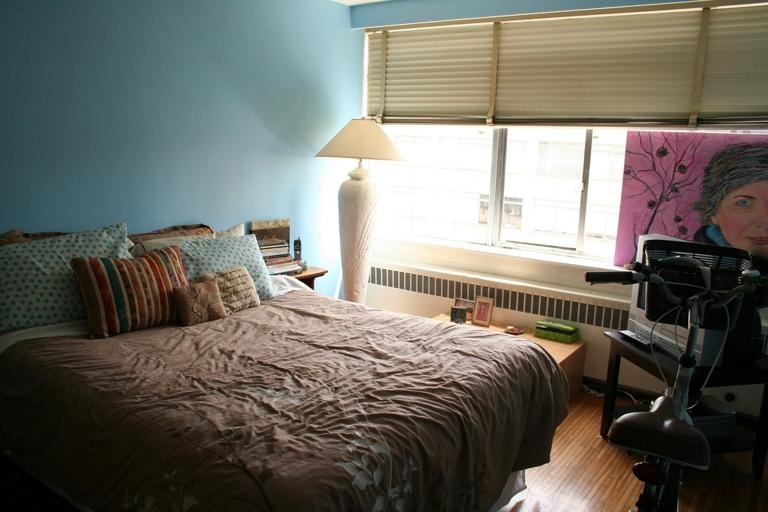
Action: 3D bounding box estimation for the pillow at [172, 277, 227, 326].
[{"bbox_3d":[-1.147,0.288,3.129,0.287,0.252,0.092,-17,0,-43],"label":"pillow"}]

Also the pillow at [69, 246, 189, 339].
[{"bbox_3d":[-1.540,0.233,2.976,0.527,0.356,0.196,-11,6,-44],"label":"pillow"}]

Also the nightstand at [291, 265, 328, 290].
[{"bbox_3d":[-0.663,0.164,4.317,0.226,0.206,0.213,-13,26,-33],"label":"nightstand"}]

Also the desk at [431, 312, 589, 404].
[{"bbox_3d":[1.223,0.855,4.022,1.074,0.457,0.727,13,21,35],"label":"desk"}]

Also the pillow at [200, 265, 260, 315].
[{"bbox_3d":[-1.043,0.248,3.389,0.124,0.275,0.390,-21,-2,38],"label":"pillow"}]
